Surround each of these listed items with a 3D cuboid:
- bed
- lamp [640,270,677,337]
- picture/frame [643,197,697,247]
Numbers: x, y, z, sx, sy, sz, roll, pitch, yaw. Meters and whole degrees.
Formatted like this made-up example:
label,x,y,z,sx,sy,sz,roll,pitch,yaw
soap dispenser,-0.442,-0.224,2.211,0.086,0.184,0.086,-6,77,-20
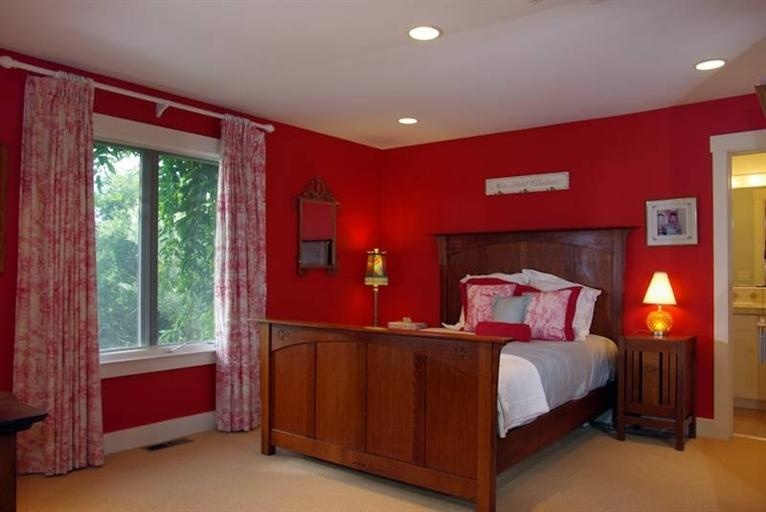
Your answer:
label,x,y,z,sx,sy,sz,roll,pitch,yaw
bed,0.732,0.899,5.396,2.317,1.946,2.827,-3,-5,40
lamp,2.708,0.469,5.555,0.304,0.587,0.389,4,8,27
picture/frame,2.873,-0.333,5.633,0.488,0.584,0.041,-1,-3,38
